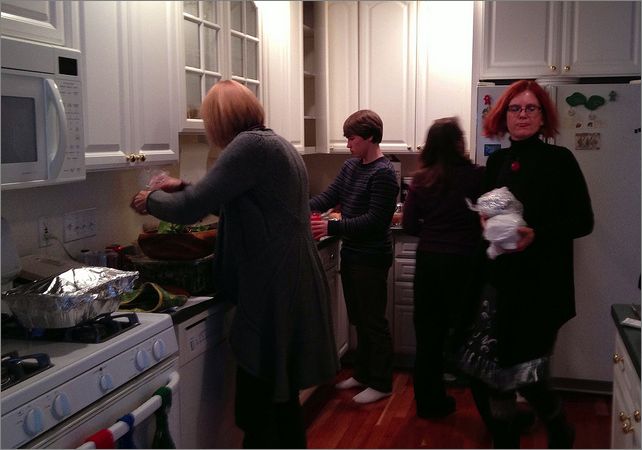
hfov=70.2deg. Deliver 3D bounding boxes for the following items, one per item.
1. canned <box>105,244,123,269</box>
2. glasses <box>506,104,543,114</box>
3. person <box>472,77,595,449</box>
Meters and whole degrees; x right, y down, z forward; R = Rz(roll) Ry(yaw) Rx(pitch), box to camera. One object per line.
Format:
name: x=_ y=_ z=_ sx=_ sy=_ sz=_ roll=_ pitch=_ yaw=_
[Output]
canned: x=-1.004 y=0.153 z=2.239 sx=0.107 sy=0.123 sz=0.104 roll=0 pitch=4 yaw=-14
glasses: x=0.977 y=-0.555 z=2.192 sx=0.143 sy=0.035 sz=0.046 roll=1 pitch=11 yaw=8
person: x=1.062 y=0.315 z=2.284 sx=0.542 sy=2.009 sz=0.392 roll=2 pitch=11 yaw=16
